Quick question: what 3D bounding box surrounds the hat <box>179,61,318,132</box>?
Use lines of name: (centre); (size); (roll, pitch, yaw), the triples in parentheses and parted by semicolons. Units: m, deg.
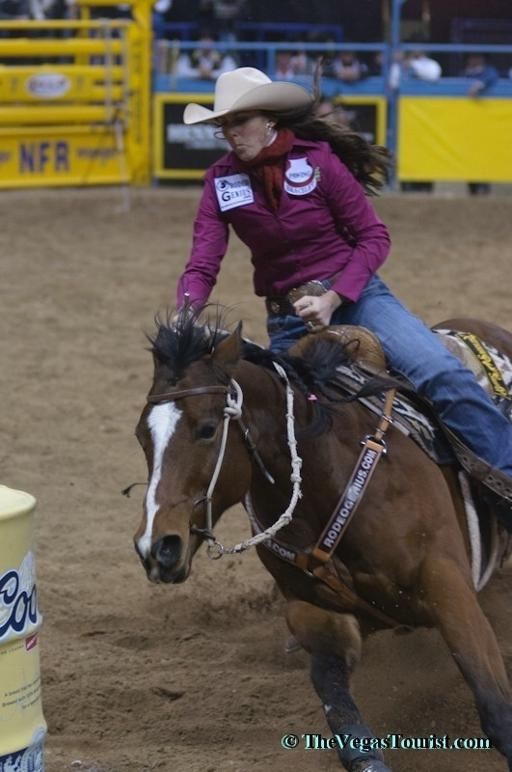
hat: (-0.017, -1.041, 3.640); (0.376, 0.206, 0.511); (-6, 12, -19)
